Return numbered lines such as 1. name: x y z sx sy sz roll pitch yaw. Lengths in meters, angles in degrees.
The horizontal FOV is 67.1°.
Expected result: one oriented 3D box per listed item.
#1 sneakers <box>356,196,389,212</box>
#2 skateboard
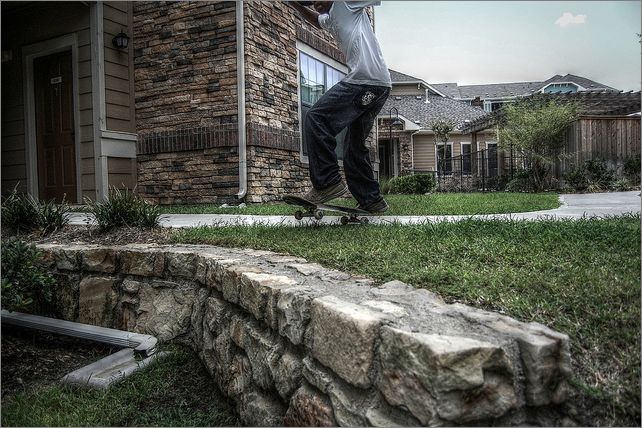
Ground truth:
1. sneakers: 0.532 -0.108 5.174 0.377 0.193 0.135 3 3 -7
2. skateboard: 0.102 -0.025 4.923 1.086 0.212 0.331 12 -3 -39
